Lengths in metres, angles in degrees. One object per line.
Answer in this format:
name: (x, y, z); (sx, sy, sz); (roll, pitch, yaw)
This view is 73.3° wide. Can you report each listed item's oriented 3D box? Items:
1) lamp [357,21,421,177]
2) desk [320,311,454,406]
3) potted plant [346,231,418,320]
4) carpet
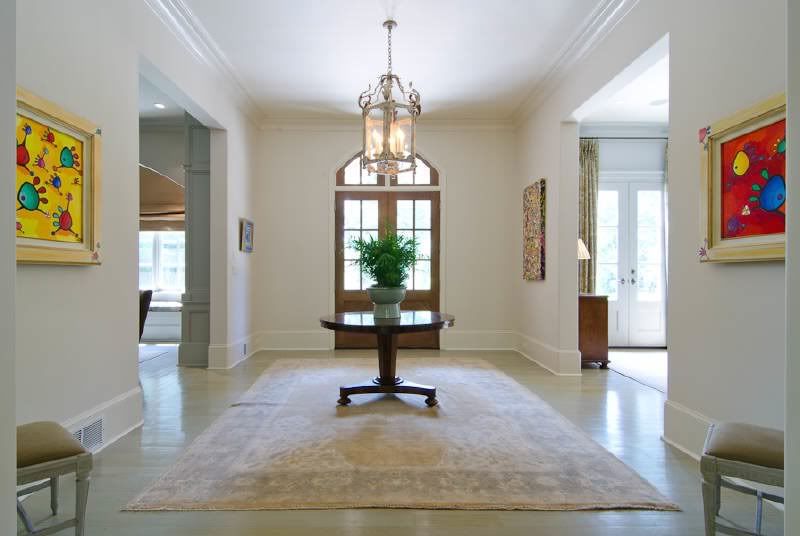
lamp: (-0.085, -1.539, 4.785); (0.632, 1.331, 0.627); (-5, 7, -42)
desk: (-0.106, 0.832, 4.945); (1.160, 0.750, 1.173); (1, 1, 10)
potted plant: (-0.273, 0.064, 5.045); (0.710, 0.785, 0.729); (-1, 0, -25)
carpet: (-0.055, 1.306, 4.412); (3.231, 0.136, 2.326); (0, 5, 0)
